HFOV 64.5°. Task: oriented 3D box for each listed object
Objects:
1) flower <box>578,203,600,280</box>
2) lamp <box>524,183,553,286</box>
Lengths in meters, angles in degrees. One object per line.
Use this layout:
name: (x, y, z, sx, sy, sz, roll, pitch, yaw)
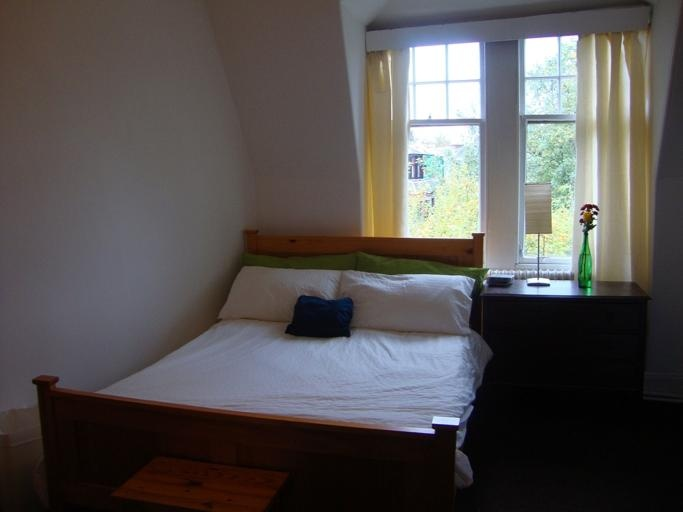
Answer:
flower: (1.740, -0.085, 3.831, 0.130, 0.566, 0.383, 3, 9, 25)
lamp: (1.422, -0.170, 3.943, 0.185, 0.717, 0.402, 2, 8, 18)
